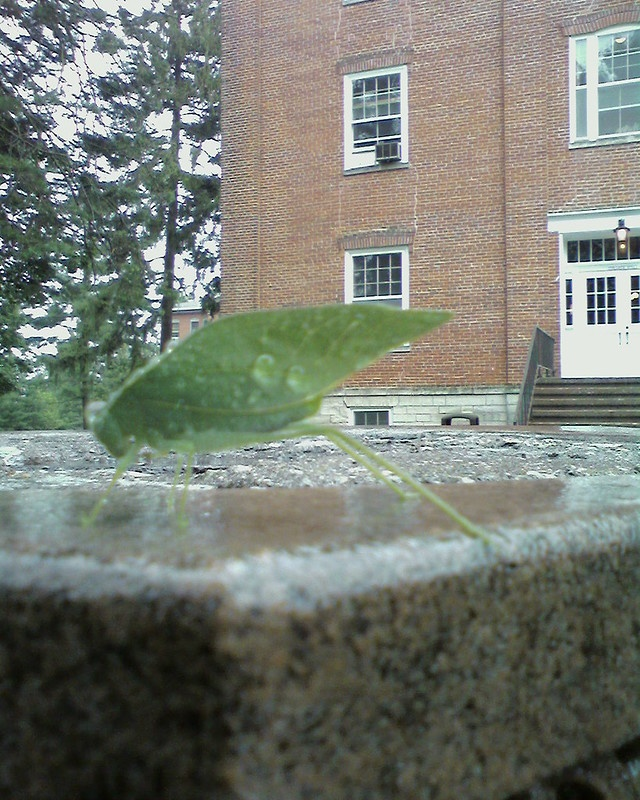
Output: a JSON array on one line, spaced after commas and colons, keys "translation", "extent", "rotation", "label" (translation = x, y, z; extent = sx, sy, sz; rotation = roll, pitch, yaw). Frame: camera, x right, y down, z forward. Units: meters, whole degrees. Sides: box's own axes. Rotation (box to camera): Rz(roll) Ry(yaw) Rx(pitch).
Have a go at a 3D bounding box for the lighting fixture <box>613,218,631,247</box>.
[{"translation": [4.950, -2.660, 11.954], "extent": [0.225, 0.457, 0.336], "rotation": [6, 0, 28], "label": "lighting fixture"}]
